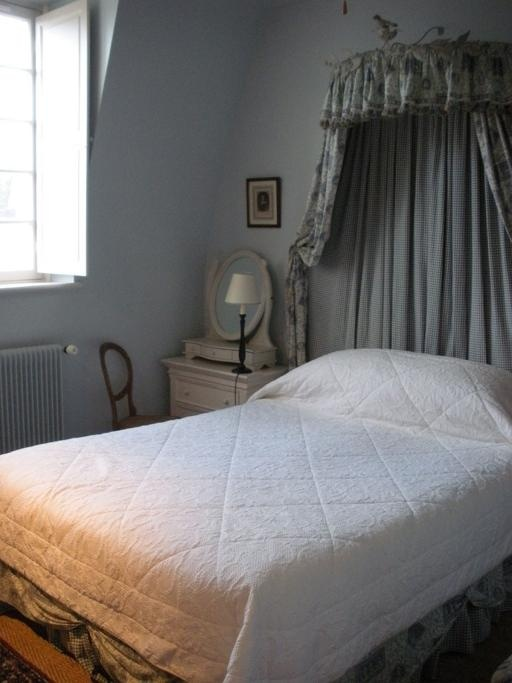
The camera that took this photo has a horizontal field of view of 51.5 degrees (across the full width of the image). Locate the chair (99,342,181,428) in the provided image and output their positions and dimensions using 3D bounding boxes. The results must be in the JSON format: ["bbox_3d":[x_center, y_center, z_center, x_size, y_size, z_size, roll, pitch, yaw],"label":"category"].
[{"bbox_3d":[-0.777,0.286,3.467,0.390,0.856,0.303,3,19,22],"label":"chair"}]

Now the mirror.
[{"bbox_3d":[-0.108,-0.301,3.650,0.039,0.697,0.587,7,2,-44],"label":"mirror"}]

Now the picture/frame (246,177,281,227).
[{"bbox_3d":[0.059,-0.954,3.619,0.330,0.377,0.028,11,13,44],"label":"picture/frame"}]
